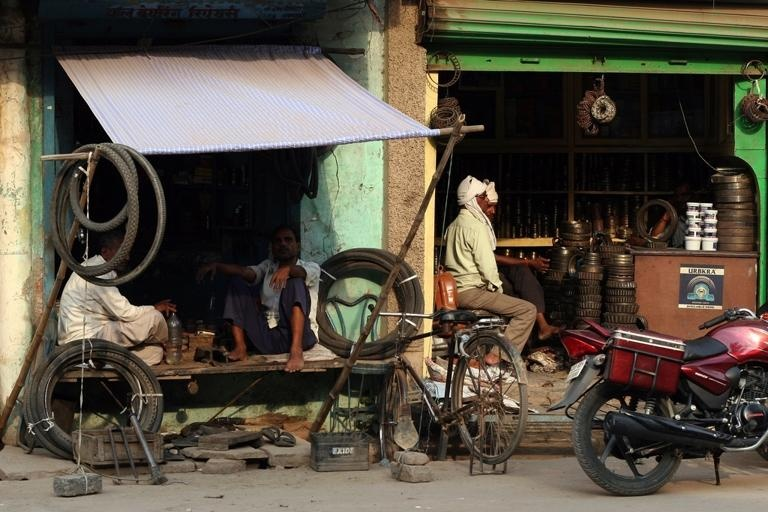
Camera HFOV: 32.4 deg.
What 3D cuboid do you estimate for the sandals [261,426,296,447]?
[{"bbox_3d":[-1.020,1.752,12.681,0.207,0.075,0.185,17,12,6],"label":"sandals"}]

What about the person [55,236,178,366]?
[{"bbox_3d":[-2.666,0.410,13.011,0.996,1.348,1.018,-6,10,-34],"label":"person"}]

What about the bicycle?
[{"bbox_3d":[0.663,1.243,12.628,1.523,1.452,1.335,0,0,13],"label":"bicycle"}]

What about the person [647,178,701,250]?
[{"bbox_3d":[3.363,-0.468,15.528,0.515,0.505,0.875,0,0,15],"label":"person"}]

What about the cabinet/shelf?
[{"bbox_3d":[2.371,-1.145,16.402,2.203,2.024,0.717,1,-2,-5],"label":"cabinet/shelf"}]

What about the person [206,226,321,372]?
[{"bbox_3d":[-1.279,0.368,13.361,1.206,1.470,1.091,4,-11,-8],"label":"person"}]
